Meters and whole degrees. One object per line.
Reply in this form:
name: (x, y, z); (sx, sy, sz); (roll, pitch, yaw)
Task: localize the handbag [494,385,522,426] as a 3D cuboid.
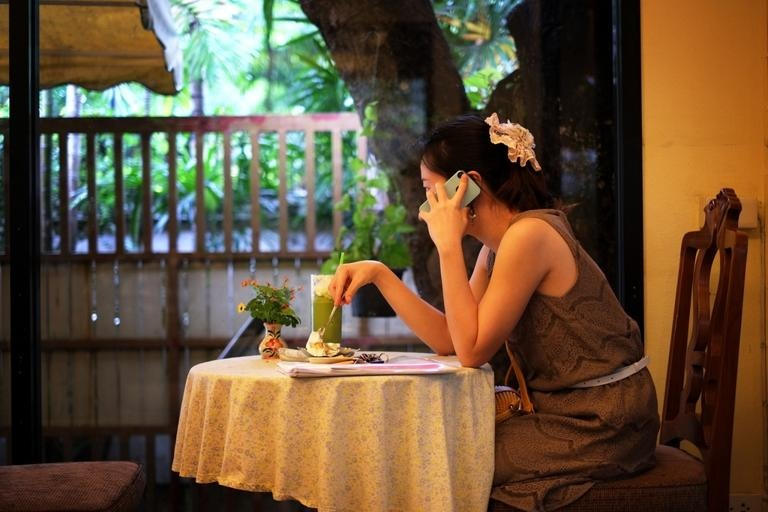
handbag: (0.475, 0.582, 3.665); (0.120, 0.096, 0.069); (-34, 11, 5)

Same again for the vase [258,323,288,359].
vase: (-0.443, 0.346, 3.792); (0.112, 0.162, 0.114); (1, 4, 44)

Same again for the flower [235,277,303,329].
flower: (-0.445, 0.221, 3.840); (0.207, 0.174, 0.237); (8, 8, -38)
